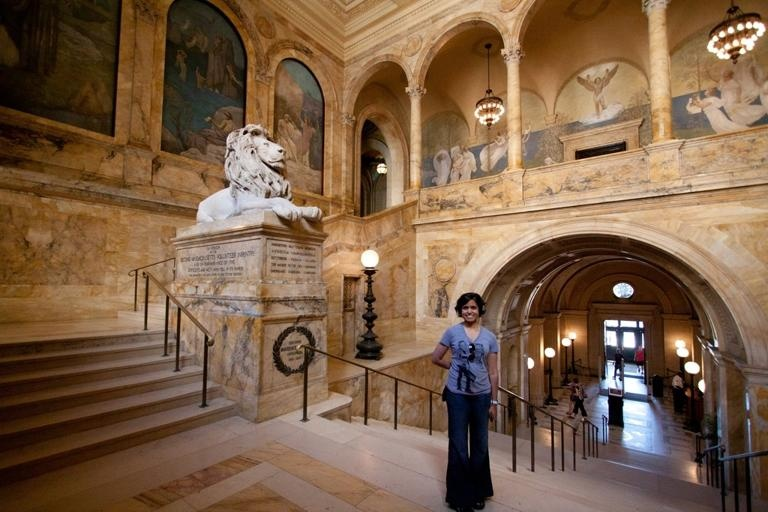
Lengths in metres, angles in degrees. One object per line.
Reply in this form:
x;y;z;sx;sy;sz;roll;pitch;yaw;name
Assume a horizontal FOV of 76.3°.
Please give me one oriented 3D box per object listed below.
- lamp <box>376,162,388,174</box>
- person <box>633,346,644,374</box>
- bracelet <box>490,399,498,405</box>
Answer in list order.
-0.064;-4.381;24.550;0.696;0.653;0.670;-2;7;-10;lamp
12.744;5.115;24.266;0.346;1.349;1.845;-1;-9;26;person
1.965;2.561;8.606;0.120;0.043;0.100;-1;0;-22;bracelet
